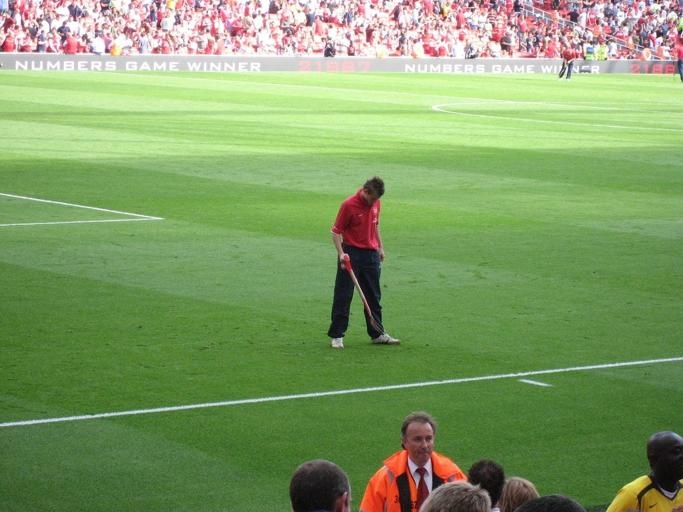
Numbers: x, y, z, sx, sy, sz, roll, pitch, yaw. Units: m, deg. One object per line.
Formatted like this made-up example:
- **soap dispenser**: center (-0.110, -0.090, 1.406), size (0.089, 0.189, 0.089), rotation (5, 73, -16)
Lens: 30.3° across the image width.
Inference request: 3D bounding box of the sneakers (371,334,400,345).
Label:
- **sneakers**: center (0.605, 1.150, 17.338), size (0.412, 0.152, 0.138), rotation (-1, 6, 9)

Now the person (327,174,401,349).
- **person**: center (0.282, 0.087, 17.100), size (0.876, 2.329, 0.590), rotation (2, 6, -12)
